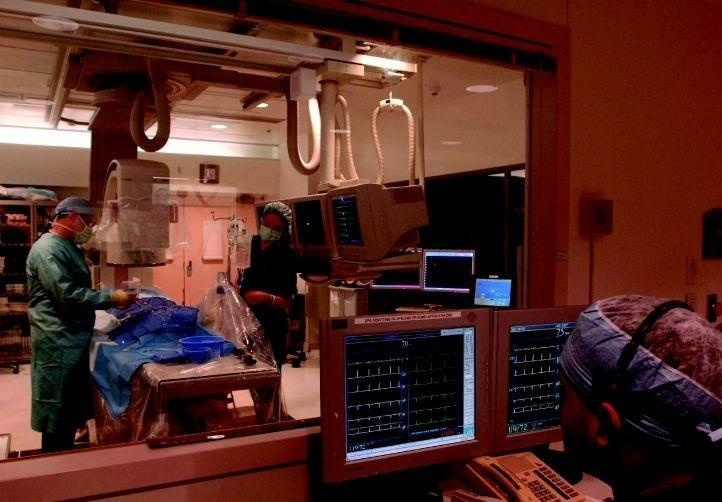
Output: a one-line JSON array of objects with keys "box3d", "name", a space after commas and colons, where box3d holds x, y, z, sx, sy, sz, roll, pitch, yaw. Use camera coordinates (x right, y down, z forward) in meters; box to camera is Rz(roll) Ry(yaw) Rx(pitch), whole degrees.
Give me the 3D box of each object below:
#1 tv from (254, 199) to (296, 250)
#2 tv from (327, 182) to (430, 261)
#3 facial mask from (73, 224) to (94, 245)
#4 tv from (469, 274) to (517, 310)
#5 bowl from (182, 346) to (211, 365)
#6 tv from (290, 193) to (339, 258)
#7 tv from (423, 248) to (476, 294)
[{"box3d": [-0.399, -0.137, 2.681, 0.160, 0.197, 0.207, 2, 10, -3], "name": "tv"}, {"box3d": [0.061, -0.161, 2.552, 0.372, 0.275, 0.372, -9, 5, -30], "name": "tv"}, {"box3d": [-1.078, -0.061, 2.212, 0.069, 0.054, 0.076, -31, 13, 7], "name": "facial mask"}, {"box3d": [0.995, 0.308, 4.256, 0.420, 0.301, 0.221, -1, -8, 36], "name": "tv"}, {"box3d": [-0.685, 0.436, 2.329, 0.081, 0.056, 0.080, 3, -7, 0], "name": "bowl"}, {"box3d": [-0.209, -0.128, 2.584, 0.155, 0.263, 0.276, -14, 7, -29], "name": "tv"}, {"box3d": [0.717, 0.173, 4.509, 0.357, 0.293, 0.049, 2, -5, 23], "name": "tv"}]
